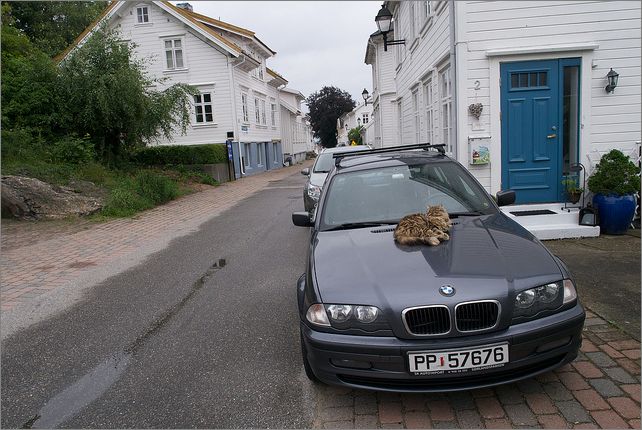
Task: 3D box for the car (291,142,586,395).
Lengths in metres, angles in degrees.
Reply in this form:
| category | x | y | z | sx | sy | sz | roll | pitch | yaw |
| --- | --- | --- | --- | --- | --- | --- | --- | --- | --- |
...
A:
| category | x | y | z | sx | sy | sz | roll | pitch | yaw |
| --- | --- | --- | --- | --- | --- | --- | --- | --- | --- |
| car | 1.187 | 0.368 | 5.072 | 2.906 | 1.942 | 2.832 | -2 | 14 | 2 |

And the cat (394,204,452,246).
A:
| category | x | y | z | sx | sy | sz | roll | pitch | yaw |
| --- | --- | --- | --- | --- | --- | --- | --- | --- | --- |
| cat | 1.181 | 0.145 | 4.813 | 0.525 | 0.314 | 0.422 | -5 | 17 | -1 |
